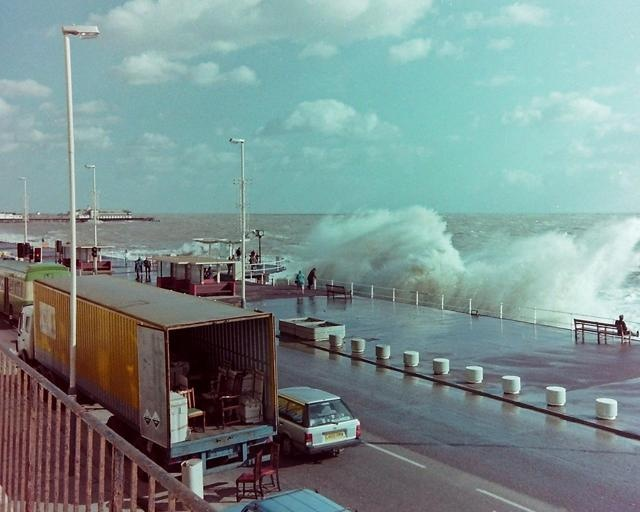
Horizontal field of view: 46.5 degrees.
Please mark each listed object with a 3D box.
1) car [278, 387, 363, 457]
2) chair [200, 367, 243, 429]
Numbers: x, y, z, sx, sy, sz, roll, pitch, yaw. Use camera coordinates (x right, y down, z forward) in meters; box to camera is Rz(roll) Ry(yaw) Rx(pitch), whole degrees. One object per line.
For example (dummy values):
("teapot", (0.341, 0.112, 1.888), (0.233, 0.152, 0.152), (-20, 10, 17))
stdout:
("car", (-0.147, 3.936, 17.730), (1.224, 0.831, 2.060), (0, 3, -27))
("chair", (-2.163, 3.159, 16.961), (0.881, 1.027, 1.673), (-2, 6, -23))
